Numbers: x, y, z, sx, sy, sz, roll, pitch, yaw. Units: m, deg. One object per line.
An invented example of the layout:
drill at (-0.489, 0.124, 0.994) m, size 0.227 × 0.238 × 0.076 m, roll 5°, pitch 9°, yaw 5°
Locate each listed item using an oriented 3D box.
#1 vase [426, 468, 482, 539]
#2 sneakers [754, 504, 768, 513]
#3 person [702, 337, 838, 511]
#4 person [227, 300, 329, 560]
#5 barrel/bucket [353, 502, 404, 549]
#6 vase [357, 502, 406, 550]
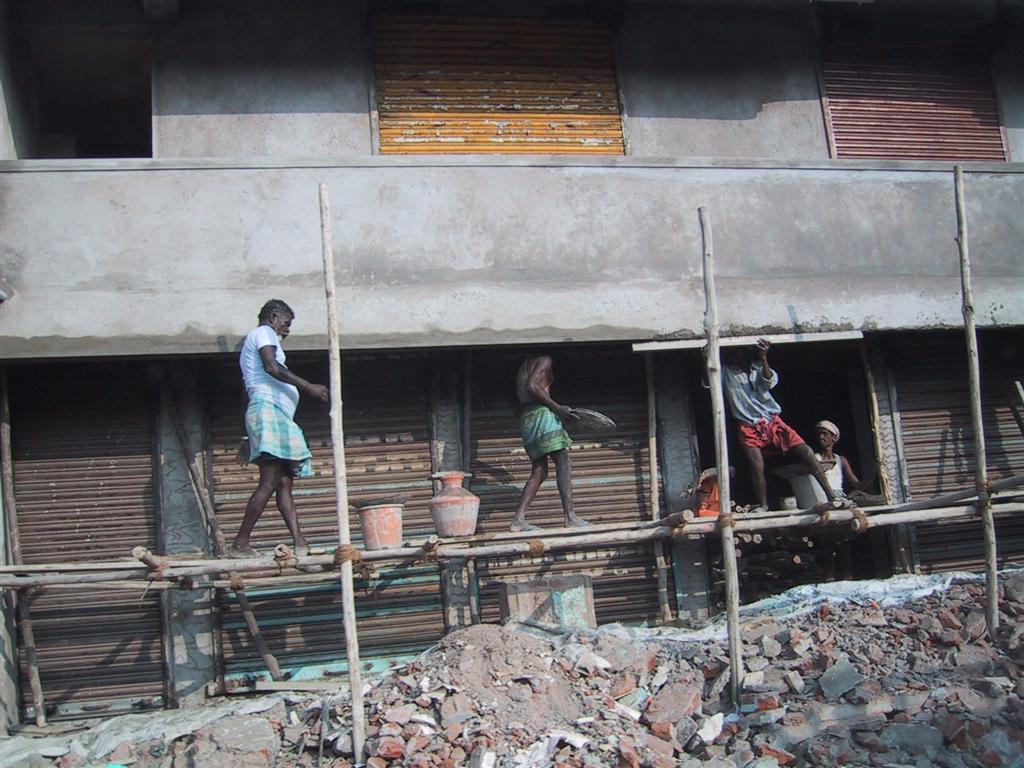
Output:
vase at (-0.527, 1.041, 9.988) m, size 0.391 × 0.562 × 0.754 m, roll -4°, pitch -6°, yaw -5°
sneakers at (2.153, 1.102, 10.137) m, size 0.198 × 0.072 × 0.058 m, roll 0°, pitch -6°, yaw -27°
person at (2.398, 0.367, 10.926) m, size 1.080 × 1.970 × 0.716 m, roll -20°, pitch -42°, yaw 0°
person at (-2.017, 0.336, 9.682) m, size 0.753 × 2.207 × 0.640 m, roll -3°, pitch -6°, yaw -14°
barrel/bucket at (-1.103, 1.205, 9.731) m, size 0.383 × 0.282 × 0.367 m, roll -1°, pitch -10°, yaw 0°
vase at (-1.100, 1.188, 9.616) m, size 0.346 × 0.374 × 0.306 m, roll -7°, pitch -6°, yaw 22°
